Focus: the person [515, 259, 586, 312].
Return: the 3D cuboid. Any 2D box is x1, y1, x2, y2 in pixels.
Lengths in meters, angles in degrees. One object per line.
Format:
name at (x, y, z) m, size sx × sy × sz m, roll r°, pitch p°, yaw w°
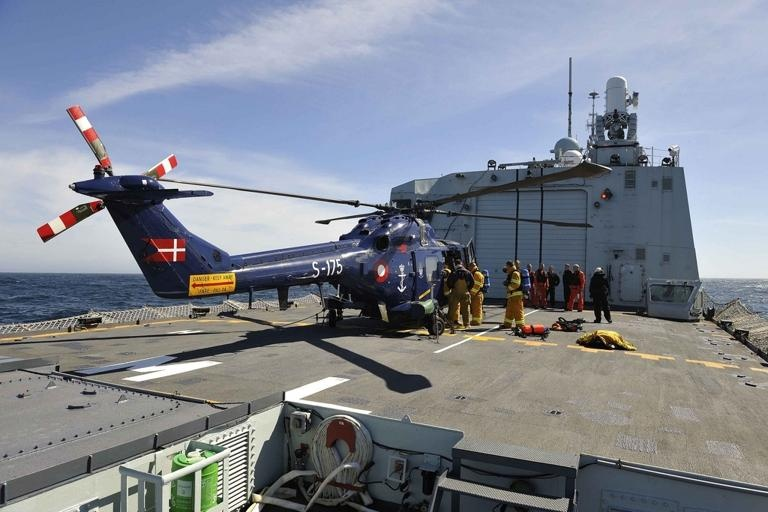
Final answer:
person at (5.752, 1.060, 18.763) m, size 2.167 × 1.293 × 0.506 m, roll -7°, pitch -16°, yaw 42°
